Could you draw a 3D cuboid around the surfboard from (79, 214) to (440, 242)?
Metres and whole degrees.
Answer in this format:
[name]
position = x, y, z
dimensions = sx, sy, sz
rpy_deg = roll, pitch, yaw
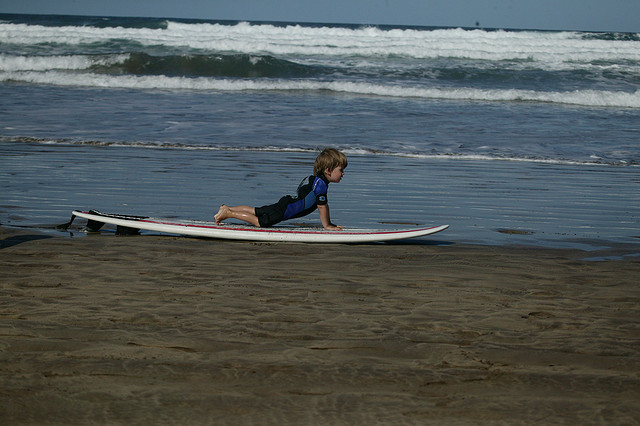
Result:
[surfboard]
position = -1.048, 0.236, 12.664
dimensions = 4.220, 0.159, 0.456
rpy_deg = 1, -1, 4
